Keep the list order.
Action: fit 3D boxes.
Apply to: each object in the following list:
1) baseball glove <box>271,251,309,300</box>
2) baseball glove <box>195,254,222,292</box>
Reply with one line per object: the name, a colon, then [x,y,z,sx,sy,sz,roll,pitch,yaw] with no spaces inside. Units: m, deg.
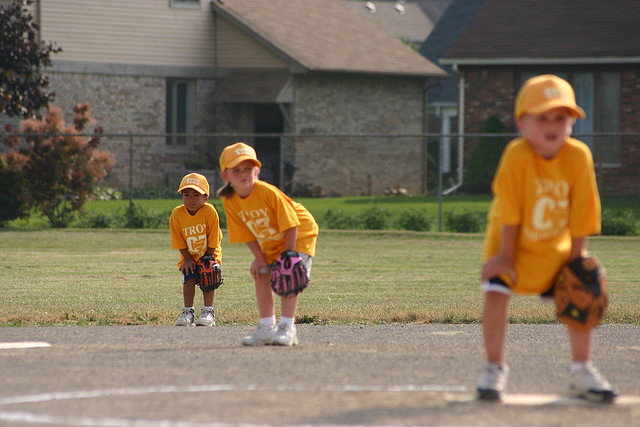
baseball glove: [-0.430,0.915,20.597,0.580,0.653,0.267,-3,1,-8]
baseball glove: [-1.787,0.949,22.154,0.437,0.542,0.198,-3,-9,-31]
